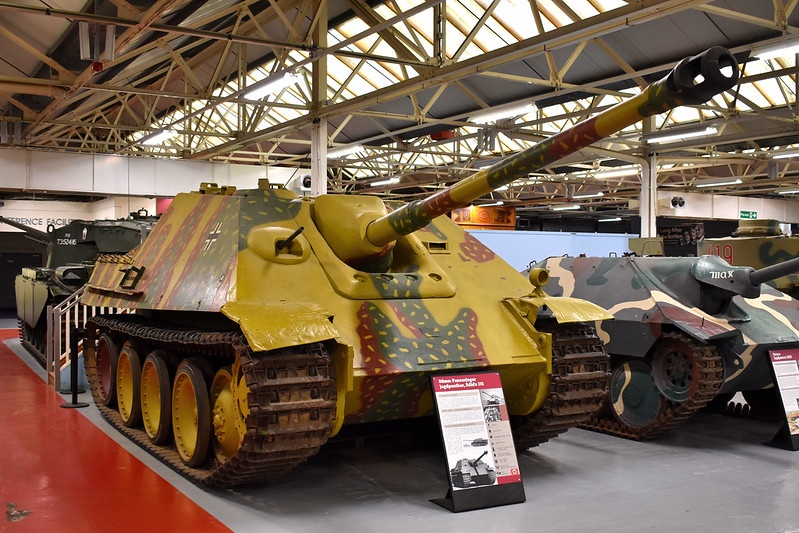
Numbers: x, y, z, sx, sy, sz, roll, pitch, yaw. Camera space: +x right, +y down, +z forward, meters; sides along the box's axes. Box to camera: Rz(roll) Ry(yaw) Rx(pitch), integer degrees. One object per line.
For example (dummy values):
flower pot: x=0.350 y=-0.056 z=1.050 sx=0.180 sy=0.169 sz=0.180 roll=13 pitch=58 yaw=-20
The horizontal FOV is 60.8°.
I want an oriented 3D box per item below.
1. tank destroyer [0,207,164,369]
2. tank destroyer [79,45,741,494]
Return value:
tank destroyer: x=-8.463 y=0.414 z=18.036 sx=3.104 sy=2.876 sz=5.847 roll=0 pitch=3 yaw=-15
tank destroyer: x=-1.778 y=0.549 z=10.609 sx=4.925 sy=4.283 sz=8.491 roll=-2 pitch=3 yaw=-33
